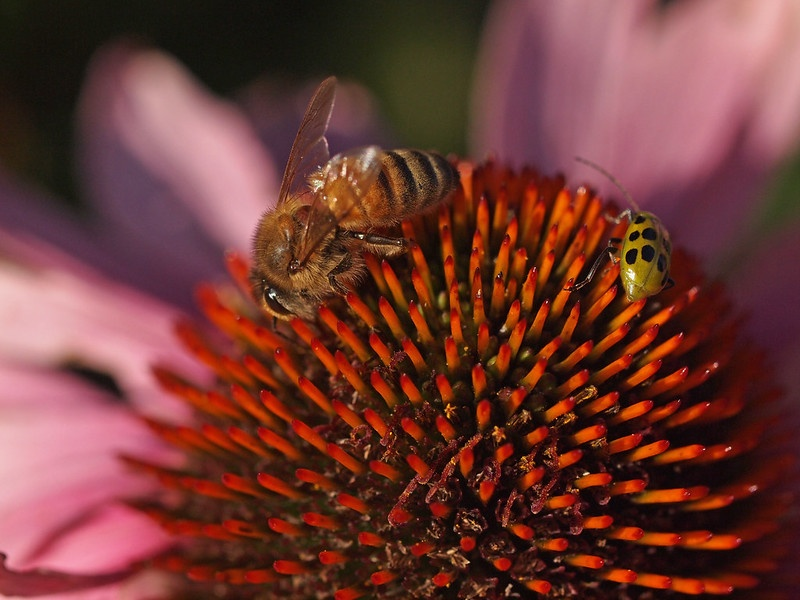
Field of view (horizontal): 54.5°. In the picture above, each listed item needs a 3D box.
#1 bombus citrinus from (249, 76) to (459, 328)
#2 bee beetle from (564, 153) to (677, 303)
[{"bbox_3d":[-0.211,-0.293,2.350,0.568,0.409,0.682,31,68,18],"label":"bombus citrinus"},{"bbox_3d":[0.702,-0.135,2.337,0.260,0.339,0.518,22,65,15],"label":"bee beetle"}]
